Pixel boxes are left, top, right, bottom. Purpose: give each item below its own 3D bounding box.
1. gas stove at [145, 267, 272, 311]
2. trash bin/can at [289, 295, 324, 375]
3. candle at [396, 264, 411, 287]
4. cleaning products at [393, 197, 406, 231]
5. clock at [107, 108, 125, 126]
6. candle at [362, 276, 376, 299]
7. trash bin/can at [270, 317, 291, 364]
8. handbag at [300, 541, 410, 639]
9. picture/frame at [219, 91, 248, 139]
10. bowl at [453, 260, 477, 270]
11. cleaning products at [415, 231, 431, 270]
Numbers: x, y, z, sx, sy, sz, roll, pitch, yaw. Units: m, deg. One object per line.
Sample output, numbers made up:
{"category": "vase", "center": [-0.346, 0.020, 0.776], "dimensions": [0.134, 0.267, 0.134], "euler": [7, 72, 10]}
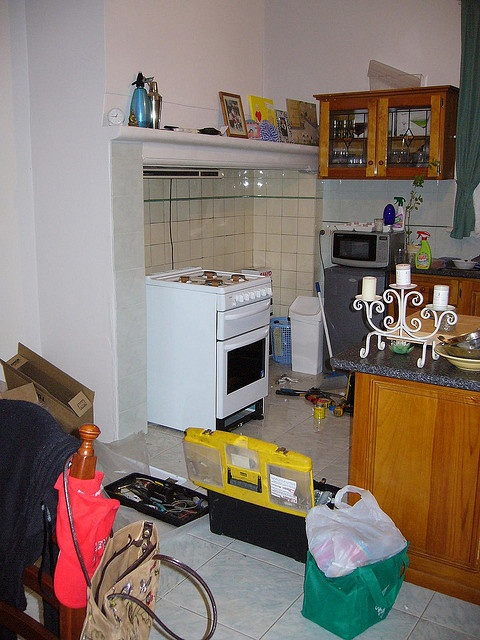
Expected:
{"category": "gas stove", "center": [-0.202, -0.192, 3.599], "dimensions": [0.774, 0.344, 0.913], "euler": [9, 12, 38]}
{"category": "trash bin/can", "center": [0.669, 0.157, 4.821], "dimensions": [0.325, 0.672, 0.487], "euler": [0, 12, 6]}
{"category": "candle", "center": [0.669, -0.180, 1.971], "dimensions": [0.053, 0.086, 0.072], "euler": [2, 12, 16]}
{"category": "cleaning products", "center": [1.510, -1.007, 4.553], "dimensions": [0.101, 0.294, 0.229], "euler": [2, 12, 19]}
{"category": "clock", "center": [-0.706, -1.142, 2.723], "dimensions": [0.111, 0.100, 0.051], "euler": [3, 12, 23]}
{"category": "candle", "center": [0.543, -0.123, 2.015], "dimensions": [0.053, 0.115, 0.141], "euler": [2, 13, 18]}
{"category": "trash bin/can", "center": [0.418, 0.221, 4.995], "dimensions": [0.200, 0.457, 0.395], "euler": [-1, 12, 2]}
{"category": "handbag", "center": [0.416, 0.934, 1.729], "dimensions": [0.246, 0.277, 0.346], "euler": [13, 16, 38]}
{"category": "picture/frame", "center": [-0.049, -1.664, 3.915], "dimensions": [0.185, 0.369, 0.408], "euler": [4, 14, 27]}
{"category": "bowl", "center": [1.948, -0.479, 4.157], "dimensions": [0.185, 0.078, 0.167], "euler": [5, 15, 28]}
{"category": "cleaning products", "center": [1.662, -0.634, 4.342], "dimensions": [0.146, 0.303, 0.443], "euler": [3, 13, 21]}
